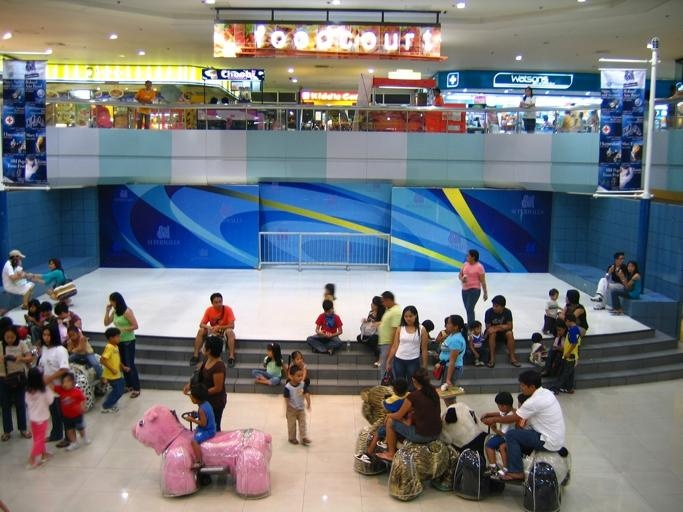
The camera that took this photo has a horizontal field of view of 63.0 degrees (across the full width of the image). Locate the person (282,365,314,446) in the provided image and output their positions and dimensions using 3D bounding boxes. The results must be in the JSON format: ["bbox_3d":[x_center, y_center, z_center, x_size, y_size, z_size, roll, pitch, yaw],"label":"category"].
[{"bbox_3d":[-0.648,2.121,8.117,0.362,1.226,0.576,-2,11,-4],"label":"person"}]

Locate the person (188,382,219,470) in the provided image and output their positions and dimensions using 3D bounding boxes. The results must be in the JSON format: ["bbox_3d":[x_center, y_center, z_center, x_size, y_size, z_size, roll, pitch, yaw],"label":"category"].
[{"bbox_3d":[-1.755,2.133,7.073,0.307,1.064,0.255,-3,11,-14],"label":"person"}]

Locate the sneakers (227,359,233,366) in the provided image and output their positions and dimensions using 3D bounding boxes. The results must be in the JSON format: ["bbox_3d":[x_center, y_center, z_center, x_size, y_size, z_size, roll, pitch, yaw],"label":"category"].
[{"bbox_3d":[-1.976,1.888,9.858,0.113,0.116,0.264,0,-2,-8],"label":"sneakers"}]

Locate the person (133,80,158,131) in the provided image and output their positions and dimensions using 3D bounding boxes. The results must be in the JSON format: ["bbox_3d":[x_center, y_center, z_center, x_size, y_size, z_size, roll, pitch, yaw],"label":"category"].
[{"bbox_3d":[-5.260,-4.052,14.917,0.505,1.309,1.132,-4,11,-16],"label":"person"}]

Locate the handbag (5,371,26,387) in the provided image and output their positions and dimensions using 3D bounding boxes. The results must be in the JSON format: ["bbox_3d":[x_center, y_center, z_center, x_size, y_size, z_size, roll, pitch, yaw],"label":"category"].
[{"bbox_3d":[-4.730,1.770,8.089,0.170,0.230,0.085,0,11,-19],"label":"handbag"}]

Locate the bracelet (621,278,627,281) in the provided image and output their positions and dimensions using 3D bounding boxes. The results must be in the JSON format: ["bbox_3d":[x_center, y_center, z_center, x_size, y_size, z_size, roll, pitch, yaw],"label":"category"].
[{"bbox_3d":[6.040,0.516,11.924,0.094,0.056,0.055,-8,-9,44],"label":"bracelet"}]

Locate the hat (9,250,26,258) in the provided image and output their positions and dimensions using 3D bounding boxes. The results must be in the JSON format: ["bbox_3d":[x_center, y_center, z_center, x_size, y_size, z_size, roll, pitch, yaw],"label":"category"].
[{"bbox_3d":[-7.100,-0.040,12.160,0.265,0.105,0.170,8,3,-33],"label":"hat"}]

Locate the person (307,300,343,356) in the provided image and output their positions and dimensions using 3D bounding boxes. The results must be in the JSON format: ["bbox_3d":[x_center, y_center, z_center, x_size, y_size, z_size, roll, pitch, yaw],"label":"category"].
[{"bbox_3d":[-0.281,1.269,10.106,0.635,0.914,0.667,-2,14,-18],"label":"person"}]

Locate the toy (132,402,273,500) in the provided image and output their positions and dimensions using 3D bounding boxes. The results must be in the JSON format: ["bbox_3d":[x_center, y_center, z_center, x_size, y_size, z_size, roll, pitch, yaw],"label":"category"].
[{"bbox_3d":[-1.814,2.462,7.452,1.713,1.141,0.937,2,6,0],"label":"toy"}]

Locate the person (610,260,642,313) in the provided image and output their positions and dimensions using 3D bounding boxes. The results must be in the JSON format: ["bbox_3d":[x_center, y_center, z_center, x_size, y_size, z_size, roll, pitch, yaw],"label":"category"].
[{"bbox_3d":[6.127,0.672,12.022,0.599,1.191,0.400,5,12,30],"label":"person"}]

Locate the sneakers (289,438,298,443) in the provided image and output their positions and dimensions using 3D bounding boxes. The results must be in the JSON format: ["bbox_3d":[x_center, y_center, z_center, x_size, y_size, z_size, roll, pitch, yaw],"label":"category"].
[{"bbox_3d":[-0.703,2.710,8.136,0.140,0.064,0.048,-2,11,36],"label":"sneakers"}]

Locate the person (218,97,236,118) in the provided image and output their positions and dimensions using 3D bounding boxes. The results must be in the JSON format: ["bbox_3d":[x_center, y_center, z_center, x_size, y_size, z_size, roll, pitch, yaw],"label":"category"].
[{"bbox_3d":[-3.087,-3.973,14.983,0.415,0.638,1.041,-3,11,-11],"label":"person"}]

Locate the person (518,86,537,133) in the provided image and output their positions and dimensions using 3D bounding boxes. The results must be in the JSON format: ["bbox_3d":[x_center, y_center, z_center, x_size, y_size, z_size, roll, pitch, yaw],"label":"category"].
[{"bbox_3d":[4.923,-3.845,14.740,0.409,1.174,0.765,3,11,17],"label":"person"}]

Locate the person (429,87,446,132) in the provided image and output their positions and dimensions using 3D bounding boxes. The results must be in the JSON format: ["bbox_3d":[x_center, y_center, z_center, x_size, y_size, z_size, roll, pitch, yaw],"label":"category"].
[{"bbox_3d":[2.530,-3.936,15.044,0.492,1.164,1.028,1,11,9],"label":"person"}]

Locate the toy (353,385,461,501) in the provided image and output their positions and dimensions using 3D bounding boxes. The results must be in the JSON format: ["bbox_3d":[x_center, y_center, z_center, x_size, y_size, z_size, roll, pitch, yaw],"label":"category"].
[{"bbox_3d":[0.760,2.368,7.520,1.042,0.904,1.256,-6,16,-30],"label":"toy"}]

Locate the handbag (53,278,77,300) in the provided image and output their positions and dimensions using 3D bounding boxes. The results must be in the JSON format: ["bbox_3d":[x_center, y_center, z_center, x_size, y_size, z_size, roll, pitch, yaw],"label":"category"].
[{"bbox_3d":[-6.060,0.761,12.125,0.484,0.306,0.264,-34,-4,22],"label":"handbag"}]

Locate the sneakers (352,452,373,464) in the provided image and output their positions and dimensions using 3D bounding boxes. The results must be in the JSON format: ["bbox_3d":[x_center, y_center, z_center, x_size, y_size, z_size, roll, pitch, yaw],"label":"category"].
[{"bbox_3d":[0.293,2.726,7.525,0.206,0.093,0.096,17,-5,31],"label":"sneakers"}]

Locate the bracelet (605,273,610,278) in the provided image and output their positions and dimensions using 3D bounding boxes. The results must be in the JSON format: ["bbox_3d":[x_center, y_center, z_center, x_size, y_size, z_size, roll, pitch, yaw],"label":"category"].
[{"bbox_3d":[5.925,0.429,12.405,0.064,0.082,0.112,1,-3,6],"label":"bracelet"}]

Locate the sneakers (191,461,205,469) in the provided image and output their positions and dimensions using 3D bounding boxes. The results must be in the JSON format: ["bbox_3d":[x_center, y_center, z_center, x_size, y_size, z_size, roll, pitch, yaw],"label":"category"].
[{"bbox_3d":[-1.820,2.647,7.032,0.138,0.090,0.047,-2,11,-8],"label":"sneakers"}]
